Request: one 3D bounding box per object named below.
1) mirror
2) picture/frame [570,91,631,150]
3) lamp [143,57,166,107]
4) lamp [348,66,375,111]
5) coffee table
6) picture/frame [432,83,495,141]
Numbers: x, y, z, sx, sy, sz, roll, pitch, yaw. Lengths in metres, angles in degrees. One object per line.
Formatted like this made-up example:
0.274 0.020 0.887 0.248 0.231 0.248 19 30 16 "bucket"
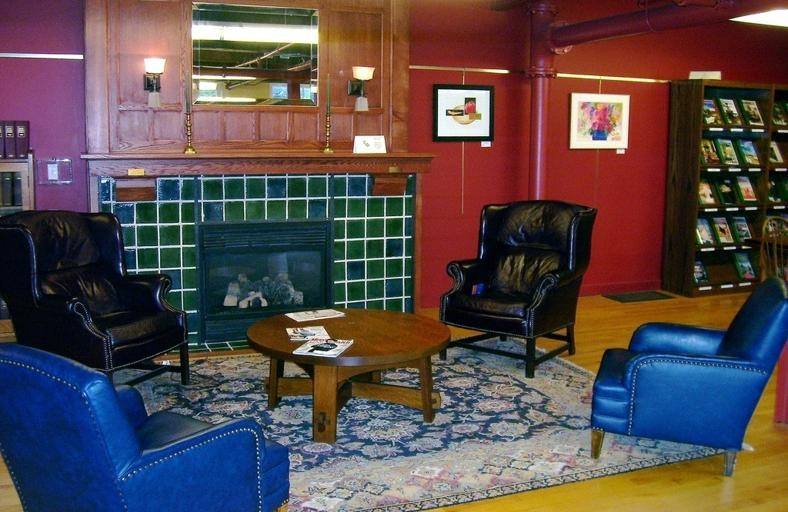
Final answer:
-1.438 -1.988 5.979 1.680 0.916 0.032 0 2 -17 "mirror"
2.547 -1.701 7.636 1.039 0.650 0.053 -7 13 -30 "picture/frame"
-2.248 -1.645 5.743 0.210 0.472 0.158 -3 6 -16 "lamp"
-0.314 -1.720 6.205 0.272 0.456 0.263 -2 5 -11 "lamp"
-0.325 0.874 4.623 1.454 0.484 1.249 -1 4 -22 "coffee table"
0.786 -1.654 7.032 0.949 0.618 0.041 -10 18 -34 "picture/frame"
